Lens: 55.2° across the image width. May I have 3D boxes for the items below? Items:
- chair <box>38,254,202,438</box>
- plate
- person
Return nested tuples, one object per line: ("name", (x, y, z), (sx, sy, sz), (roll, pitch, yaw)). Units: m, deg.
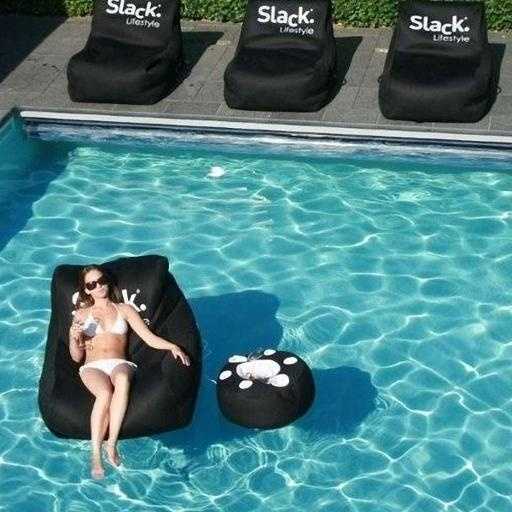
("chair", (-1.036, 0.688, 3.931), (1.201, 0.548, 1.443), (-5, 43, -10))
("plate", (0.017, 0.897, 3.834), (0.367, 0.135, 0.335), (1, 24, 12))
("person", (-1.052, 0.890, 3.884), (0.962, 0.864, 1.547), (-6, 37, -15))
